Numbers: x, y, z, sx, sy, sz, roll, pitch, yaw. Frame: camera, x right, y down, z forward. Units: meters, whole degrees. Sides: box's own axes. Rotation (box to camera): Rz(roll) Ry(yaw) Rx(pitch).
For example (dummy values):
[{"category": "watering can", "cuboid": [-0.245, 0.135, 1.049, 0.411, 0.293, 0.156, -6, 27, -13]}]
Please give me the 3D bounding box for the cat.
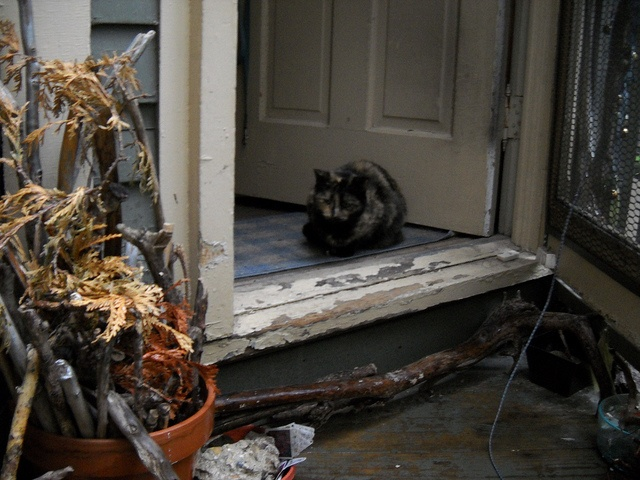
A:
[{"category": "cat", "cuboid": [0.136, -0.176, 3.011, 0.463, 0.385, 0.572, 10, 22, 17]}]
